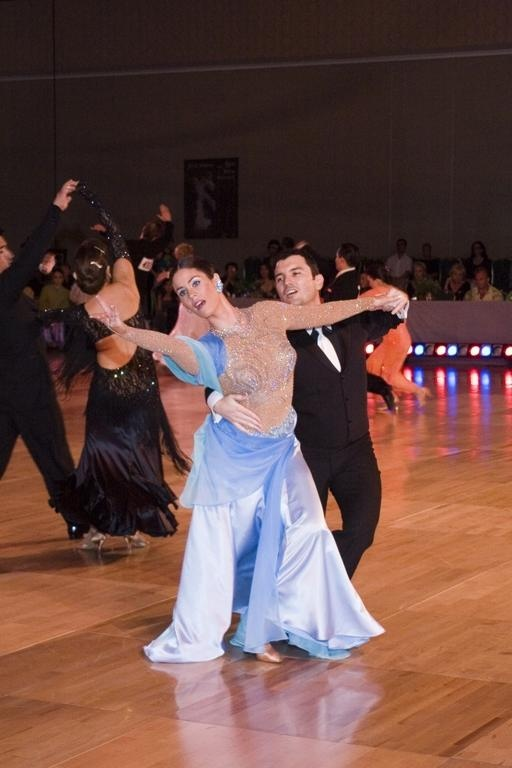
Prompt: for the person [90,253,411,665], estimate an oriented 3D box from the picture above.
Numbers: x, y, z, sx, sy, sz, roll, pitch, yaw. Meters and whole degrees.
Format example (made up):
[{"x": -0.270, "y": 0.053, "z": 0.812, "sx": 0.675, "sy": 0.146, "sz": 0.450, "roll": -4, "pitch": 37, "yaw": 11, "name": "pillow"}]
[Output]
[{"x": -0.008, "y": 0.246, "z": 1.955, "sx": 0.758, "sy": 1.156, "sz": 0.454, "roll": 0, "pitch": 1, "yaw": -13, "name": "person"}]
